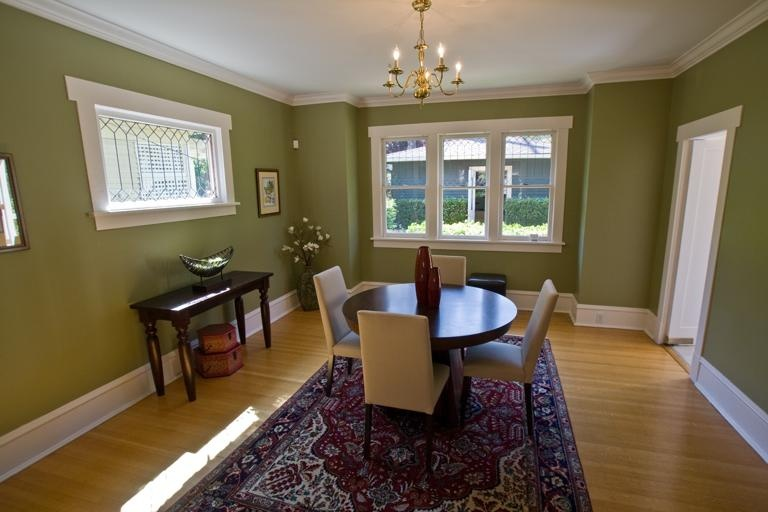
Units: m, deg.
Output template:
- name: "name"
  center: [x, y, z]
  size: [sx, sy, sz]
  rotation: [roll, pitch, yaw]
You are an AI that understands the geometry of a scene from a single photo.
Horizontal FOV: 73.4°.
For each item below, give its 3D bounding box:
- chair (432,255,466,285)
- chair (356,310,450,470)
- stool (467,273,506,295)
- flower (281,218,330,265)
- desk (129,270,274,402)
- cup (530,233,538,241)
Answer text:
- name: "chair"
  center: [0.746, 0.114, 5.639]
  size: [0.332, 0.459, 0.327]
  rotation: [0, 8, 11]
- name: "chair"
  center: [0.149, 1.046, 4.253]
  size: [0.643, 1.320, 0.336]
  rotation: [1, 12, 15]
- name: "stool"
  center: [1.352, 0.328, 6.691]
  size: [0.340, 0.258, 0.338]
  rotation: [1, 5, 16]
- name: "flower"
  center: [-1.086, -0.238, 7.004]
  size: [0.412, 0.485, 0.405]
  rotation: [18, 37, 31]
- name: "desk"
  center: [-1.900, 0.819, 5.220]
  size: [0.521, 0.764, 1.087]
  rotation: [6, 16, 19]
- name: "cup"
  center: [1.989, -0.260, 6.808]
  size: [0.095, 0.115, 0.091]
  rotation: [-1, 6, 0]
